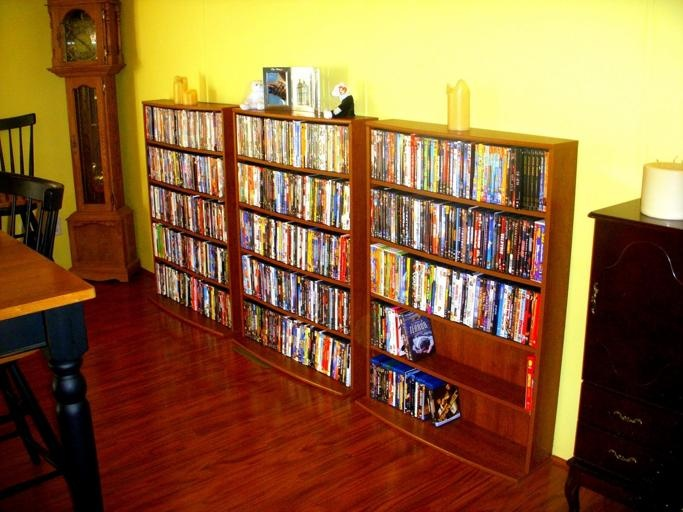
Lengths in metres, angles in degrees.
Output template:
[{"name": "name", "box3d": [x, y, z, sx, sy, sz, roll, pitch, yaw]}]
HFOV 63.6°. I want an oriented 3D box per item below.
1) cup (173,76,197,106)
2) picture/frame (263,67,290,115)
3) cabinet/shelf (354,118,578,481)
[{"name": "cup", "box3d": [-1.140, -1.199, 3.988, 0.225, 0.191, 0.116, 13, 20, 39]}, {"name": "picture/frame", "box3d": [-0.396, -1.015, 3.328, 0.209, 0.253, 0.017, -13, 19, -42]}, {"name": "cabinet/shelf", "box3d": [0.623, 0.206, 2.625, 0.484, 1.943, 1.204, -18, 26, -39]}]
